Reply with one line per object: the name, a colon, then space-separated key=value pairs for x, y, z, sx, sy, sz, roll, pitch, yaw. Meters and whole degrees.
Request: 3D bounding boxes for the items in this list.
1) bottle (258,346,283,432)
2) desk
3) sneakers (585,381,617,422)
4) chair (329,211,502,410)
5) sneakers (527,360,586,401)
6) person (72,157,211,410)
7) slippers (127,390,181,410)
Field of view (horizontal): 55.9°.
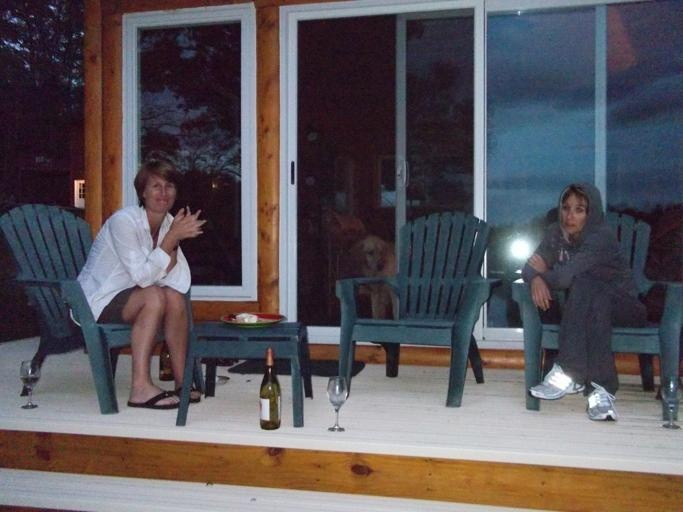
bottle: x=-0.376 y=0.689 z=3.380 sx=0.113 sy=0.410 sz=0.197 roll=-1 pitch=4 yaw=-7
desk: x=-0.524 y=0.663 z=3.693 sx=0.727 sy=0.502 sz=0.613 roll=1 pitch=3 yaw=10
sneakers: x=1.442 y=0.804 z=3.542 sx=0.154 sy=0.173 sz=0.242 roll=2 pitch=5 yaw=24
chair: x=0.388 y=0.309 z=4.422 sx=1.183 sy=1.403 sz=1.069 roll=1 pitch=1 yaw=25
sneakers: x=1.240 y=0.720 z=3.665 sx=0.370 sy=0.181 sz=0.123 roll=-5 pitch=3 yaw=-25
person: x=-1.171 y=0.146 z=3.758 sx=0.665 sy=1.426 sz=0.520 roll=-2 pitch=5 yaw=-24
slippers: x=-1.070 y=0.834 z=3.680 sx=0.225 sy=0.063 sz=0.131 roll=-1 pitch=1 yaw=21
